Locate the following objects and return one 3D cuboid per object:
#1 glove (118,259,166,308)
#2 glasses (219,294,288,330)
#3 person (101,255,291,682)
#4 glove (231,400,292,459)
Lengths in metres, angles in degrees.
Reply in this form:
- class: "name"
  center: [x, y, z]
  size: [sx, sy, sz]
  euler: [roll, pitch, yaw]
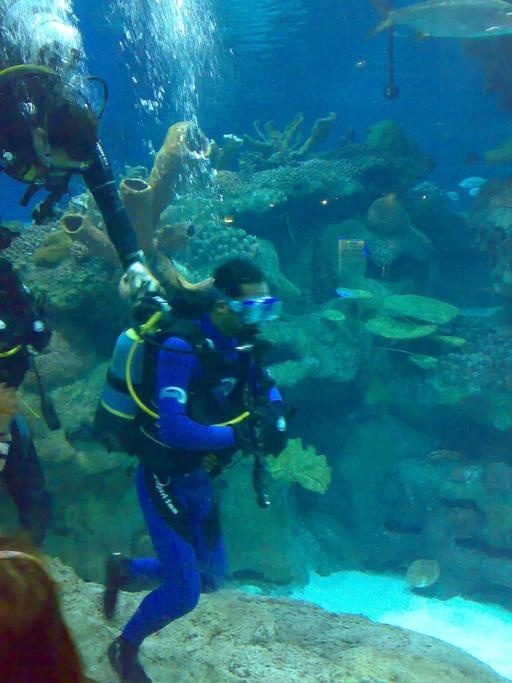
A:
- class: "glove"
  center: [-0.661, -0.312, 3.895]
  size: [0.217, 0.310, 0.114]
  euler: [-39, -4, -13]
- class: "glasses"
  center: [0.008, -0.193, 3.966]
  size: [0.203, 0.102, 0.242]
  euler: [-18, 24, -37]
- class: "person"
  center: [-0.406, 0.727, 4.195]
  size: [1.098, 2.510, 0.698]
  euler: [-3, 12, -40]
- class: "glove"
  center: [0.047, 0.585, 4.398]
  size: [0.325, 0.098, 0.427]
  euler: [10, 26, 3]
